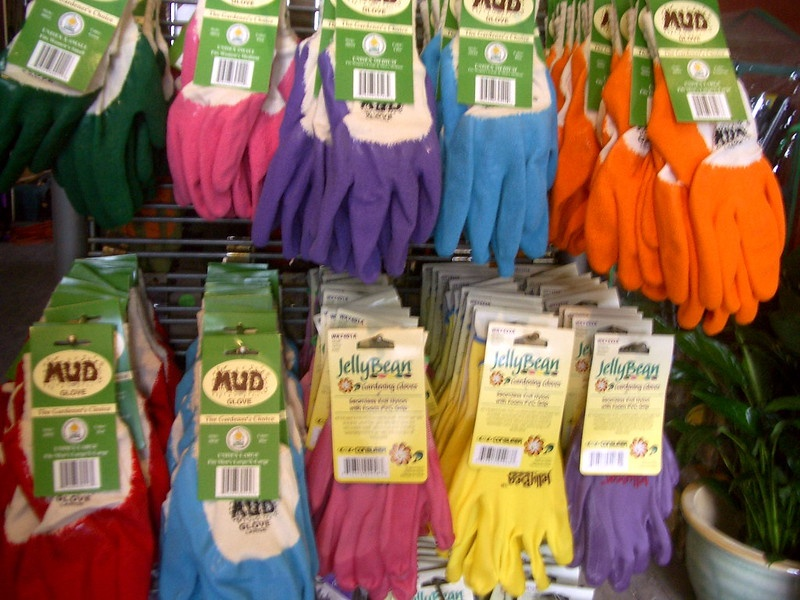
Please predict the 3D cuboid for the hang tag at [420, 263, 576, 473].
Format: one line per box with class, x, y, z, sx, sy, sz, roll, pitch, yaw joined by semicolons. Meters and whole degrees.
hang tag;0.151;0.140;1.293;0.246;0.091;0.404;1;85;25
